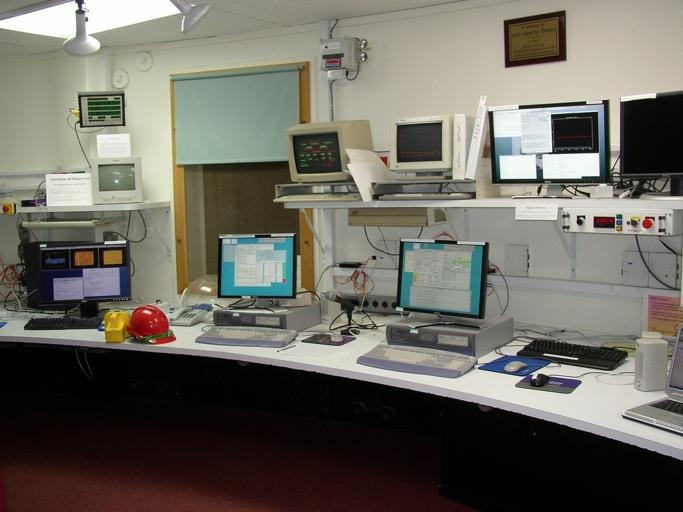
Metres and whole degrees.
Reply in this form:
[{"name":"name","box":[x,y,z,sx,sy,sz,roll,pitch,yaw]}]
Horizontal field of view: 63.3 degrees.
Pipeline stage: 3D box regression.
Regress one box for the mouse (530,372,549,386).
[{"name":"mouse","box":[0.883,0.546,2.458,0.046,0.030,0.072,-2,-2,28]}]

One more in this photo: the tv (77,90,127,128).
[{"name":"tv","box":[-1.803,-1.098,4.162,0.352,0.257,0.143,-1,15,3]}]

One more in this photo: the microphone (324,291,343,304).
[{"name":"microphone","box":[-0.057,0.250,3.308,0.107,0.045,0.058,21,-8,-21]}]

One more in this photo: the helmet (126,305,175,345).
[{"name":"helmet","box":[-1.103,0.390,3.242,0.268,0.161,0.200,6,6,24]}]

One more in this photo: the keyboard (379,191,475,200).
[{"name":"keyboard","box":[0.445,-0.318,2.985,0.534,0.046,0.093,2,15,16]}]

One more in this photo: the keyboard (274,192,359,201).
[{"name":"keyboard","box":[-0.142,-0.338,3.235,0.533,0.056,0.070,4,16,21]}]

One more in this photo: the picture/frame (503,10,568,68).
[{"name":"picture/frame","box":[1.135,-1.253,3.186,0.399,0.284,0.030,2,10,27]}]

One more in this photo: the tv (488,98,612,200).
[{"name":"tv","box":[1.054,-0.534,2.778,0.652,0.405,0.073,2,9,22]}]
